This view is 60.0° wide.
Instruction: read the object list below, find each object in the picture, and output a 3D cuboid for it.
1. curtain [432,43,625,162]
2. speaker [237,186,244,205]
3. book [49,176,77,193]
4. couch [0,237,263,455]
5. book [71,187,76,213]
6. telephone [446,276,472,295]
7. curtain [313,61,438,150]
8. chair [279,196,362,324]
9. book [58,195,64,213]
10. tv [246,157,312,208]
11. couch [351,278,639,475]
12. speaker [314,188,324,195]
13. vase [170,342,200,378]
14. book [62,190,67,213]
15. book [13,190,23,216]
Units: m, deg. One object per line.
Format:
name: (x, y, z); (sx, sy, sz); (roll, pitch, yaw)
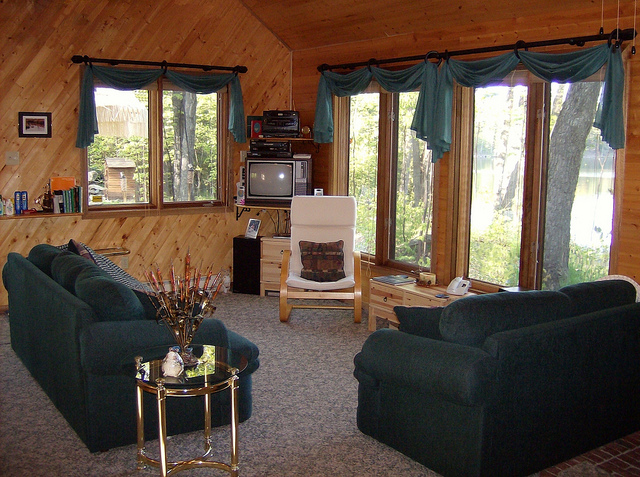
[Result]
curtain: (1.829, -1.187, 4.761); (0.144, 0.711, 1.197); (-2, 6, -39)
speaker: (-0.978, -0.538, 6.872); (0.079, 0.211, 0.187); (-1, 10, -9)
book: (-2.836, -0.601, 6.119); (0.188, 0.190, 0.045); (1, 4, -37)
couch: (-1.329, 0.677, 3.835); (0.900, 1.099, 2.298); (-9, 14, -43)
book: (-2.730, -0.440, 6.148); (0.035, 0.324, 0.243); (-3, 8, -27)
telephone: (1.278, 0.433, 5.090); (0.124, 0.085, 0.198); (1, 10, 28)
curtain: (0.581, -1.405, 5.895); (1.389, 0.917, 0.180); (4, 14, 17)
chair: (0.041, 0.210, 6.030); (0.864, 1.286, 0.978); (1, 10, 3)
book: (-2.829, -0.383, 6.087); (0.046, 0.192, 0.017); (-6, 12, -32)
tv: (-0.463, -0.669, 6.858); (0.961, 0.738, 0.556); (1, 1, 16)
couch: (0.997, 0.434, 3.305); (1.764, 0.889, 1.021); (-3, 9, -36)
speaker: (-0.004, -0.572, 6.713); (0.093, 0.096, 0.169); (-1, 1, 0)
vase: (-0.765, 0.682, 3.133); (0.130, 0.063, 0.184); (0, 5, -22)
book: (-2.799, -0.407, 6.104); (0.029, 0.240, 0.026); (-1, 10, -6)
book: (-3.207, -0.390, 5.900); (0.093, 0.245, 0.098); (-5, 12, -29)
